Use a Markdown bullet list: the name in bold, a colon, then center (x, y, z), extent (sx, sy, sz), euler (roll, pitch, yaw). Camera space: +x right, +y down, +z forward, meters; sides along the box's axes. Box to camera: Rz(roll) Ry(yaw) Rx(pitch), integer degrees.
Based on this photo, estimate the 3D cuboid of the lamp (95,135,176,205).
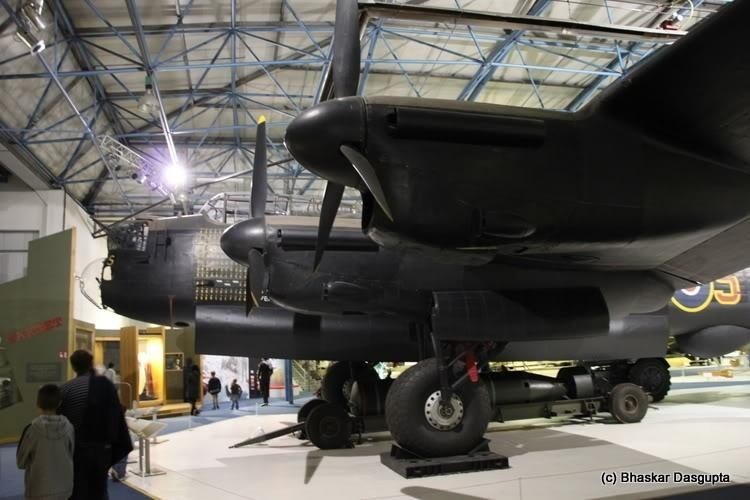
- **lamp**: center (-10.855, -3.790, 26.221), extent (4.574, 1.143, 0.889), euler (30, -70, -26)
